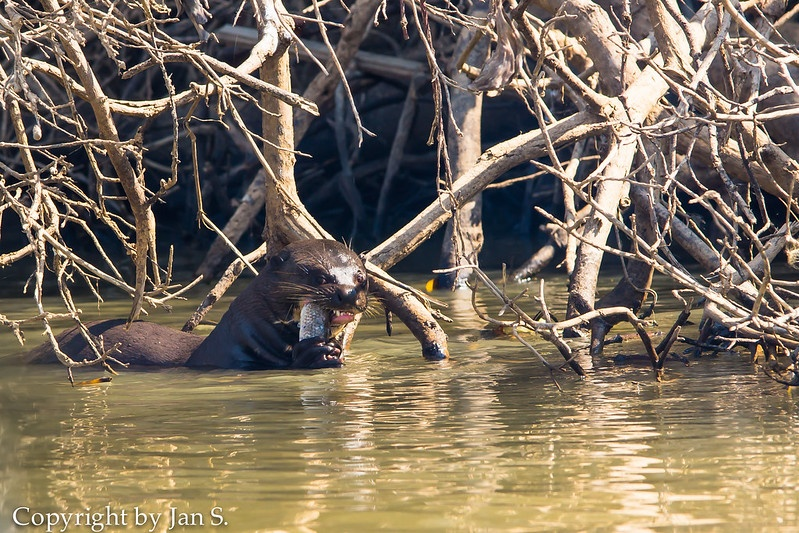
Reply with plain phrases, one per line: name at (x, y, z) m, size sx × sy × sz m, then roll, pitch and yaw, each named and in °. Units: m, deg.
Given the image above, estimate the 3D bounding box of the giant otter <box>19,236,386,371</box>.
giant otter at (-1.548, 0.344, 9.899) m, size 3.017 × 1.083 × 0.937 m, roll -4°, pitch 1°, yaw 5°
